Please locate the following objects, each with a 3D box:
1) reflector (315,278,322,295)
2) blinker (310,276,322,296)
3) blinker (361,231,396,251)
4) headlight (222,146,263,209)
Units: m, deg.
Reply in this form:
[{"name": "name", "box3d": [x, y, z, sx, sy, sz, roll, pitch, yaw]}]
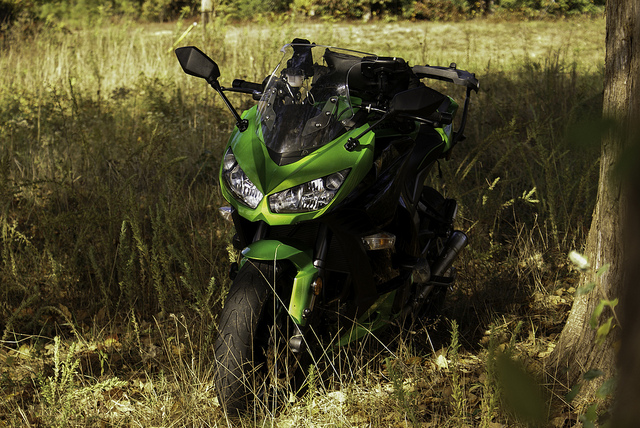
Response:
[{"name": "reflector", "box3d": [-0.011, 0.509, 4.605, 0.019, 0.091, 0.083, 1, 1, 26]}, {"name": "blinker", "box3d": [-0.030, 0.498, 4.599, 0.034, 0.111, 0.102, 9, 16, 24]}, {"name": "blinker", "box3d": [0.425, 0.195, 4.801, 0.199, 0.129, 0.077, -7, -15, 7]}, {"name": "headlight", "box3d": [-0.560, -0.252, 4.687, 0.154, 0.388, 0.397, -7, 14, -32]}]
